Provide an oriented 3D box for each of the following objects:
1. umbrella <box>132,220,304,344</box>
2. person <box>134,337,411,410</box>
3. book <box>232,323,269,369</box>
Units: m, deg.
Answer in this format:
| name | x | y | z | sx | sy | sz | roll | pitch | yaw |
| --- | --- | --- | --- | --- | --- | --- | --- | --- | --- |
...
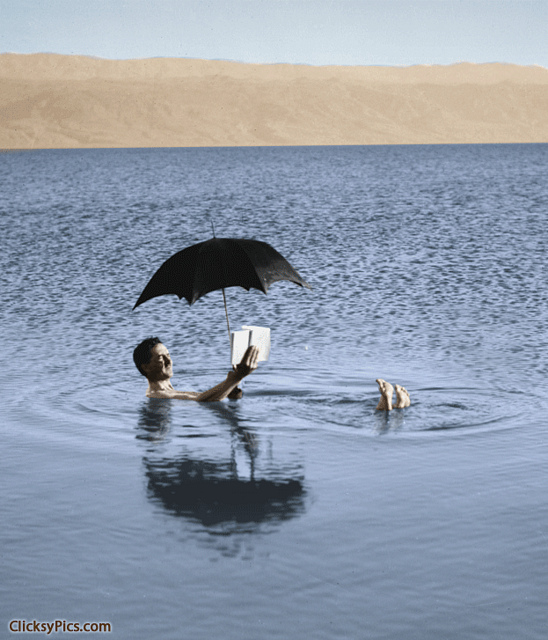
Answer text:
| name | x | y | z | sx | sy | sz | roll | pitch | yaw |
| --- | --- | --- | --- | --- | --- | --- | --- | --- | --- |
| umbrella | -0.393 | -0.190 | 8.553 | 1.017 | 0.767 | 0.997 | -9 | -17 | 9 |
| person | -0.356 | 0.492 | 9.258 | 1.687 | 0.495 | 0.917 | 0 | 3 | 13 |
| book | -0.206 | 0.184 | 8.637 | 0.303 | 0.267 | 0.076 | -7 | 22 | -29 |
